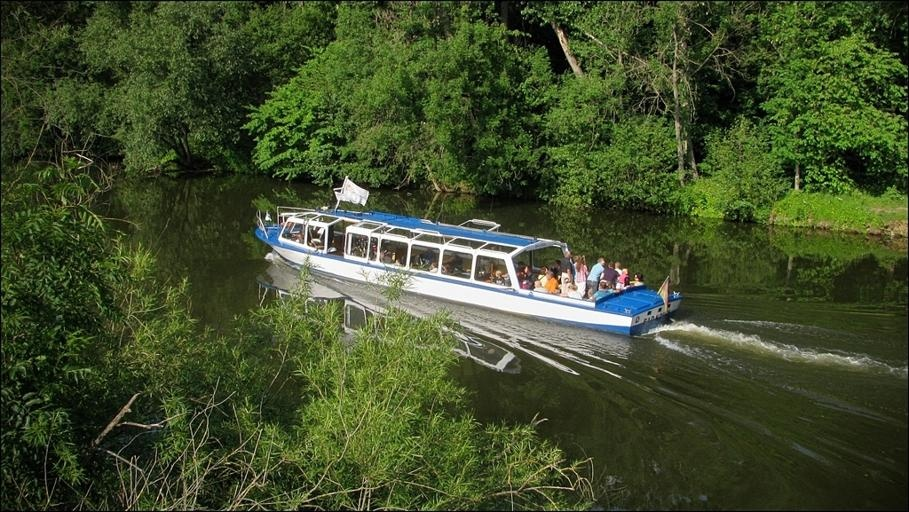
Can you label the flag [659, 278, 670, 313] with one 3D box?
[{"bbox_3d":[6.377,1.214,19.430,0.276,1.084,0.558,5,8,25],"label":"flag"}]
